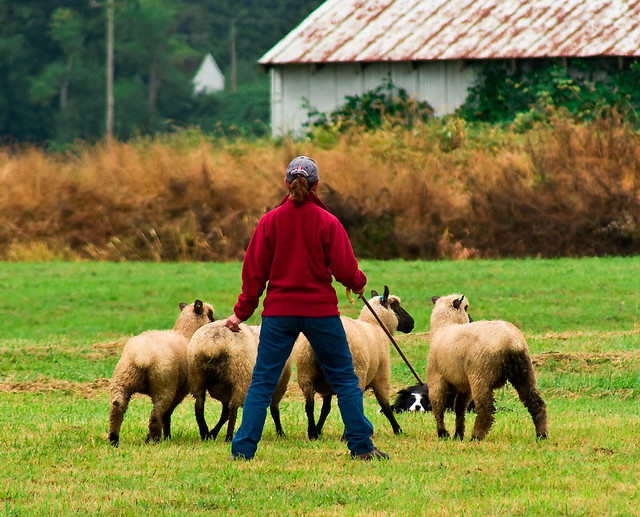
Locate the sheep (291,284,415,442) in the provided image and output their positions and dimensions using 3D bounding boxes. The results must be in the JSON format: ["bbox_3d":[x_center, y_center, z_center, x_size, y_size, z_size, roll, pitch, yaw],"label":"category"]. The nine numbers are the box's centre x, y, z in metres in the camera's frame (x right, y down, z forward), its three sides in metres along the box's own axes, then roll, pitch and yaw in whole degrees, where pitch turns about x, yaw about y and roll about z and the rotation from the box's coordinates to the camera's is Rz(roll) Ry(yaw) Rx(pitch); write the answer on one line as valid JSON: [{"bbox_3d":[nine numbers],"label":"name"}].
[{"bbox_3d":[0.766,2.349,34.677,1.131,3.444,3.747,-2,1,29],"label":"sheep"}]

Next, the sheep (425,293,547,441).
[{"bbox_3d":[3.229,2.348,34.540,1.400,3.424,3.453,0,-3,-31],"label":"sheep"}]
